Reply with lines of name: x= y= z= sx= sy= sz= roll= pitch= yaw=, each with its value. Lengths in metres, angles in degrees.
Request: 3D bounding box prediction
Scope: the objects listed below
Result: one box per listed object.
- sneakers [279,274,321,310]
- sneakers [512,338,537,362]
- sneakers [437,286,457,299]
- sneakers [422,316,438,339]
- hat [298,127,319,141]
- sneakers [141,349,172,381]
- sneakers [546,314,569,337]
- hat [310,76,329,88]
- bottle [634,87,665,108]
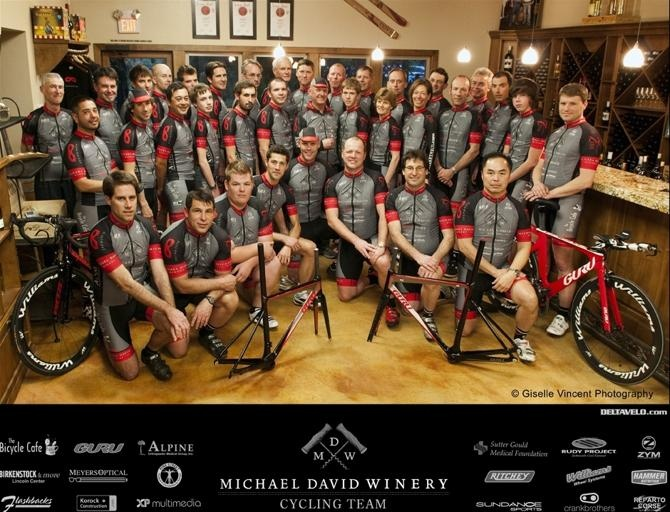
sneakers: x=-0.283 y=0.233 z=3.360 sx=0.153 sy=0.239 sz=0.486 roll=-10 pitch=16 yaw=-43
sneakers: x=1.136 y=0.563 z=2.798 sx=0.075 sy=0.090 sz=0.217 roll=-4 pitch=12 yaw=-1
sneakers: x=0.838 y=0.274 z=3.404 sx=0.083 sy=0.099 sz=0.111 roll=-5 pitch=-13 yaw=36
sneakers: x=0.609 y=0.456 z=2.903 sx=0.066 sy=0.101 sz=0.211 roll=-1 pitch=14 yaw=-2
hat: x=-0.187 y=-0.902 z=3.393 sx=0.090 sy=0.080 sz=0.139 roll=-1 pitch=12 yaw=-1
sneakers: x=-0.990 y=0.612 z=2.621 sx=0.253 sy=0.103 sz=0.095 roll=39 pitch=43 yaw=27
sneakers: x=1.469 y=0.461 z=3.041 sx=0.079 sy=0.087 sz=0.193 roll=8 pitch=10 yaw=39
hat: x=-0.109 y=-1.318 z=3.466 sx=0.128 sy=0.071 sz=0.204 roll=-1 pitch=13 yaw=-5
bottle: x=3.125 y=-1.581 z=4.565 sx=0.114 sy=0.157 sz=0.217 roll=-5 pitch=14 yaw=-23
